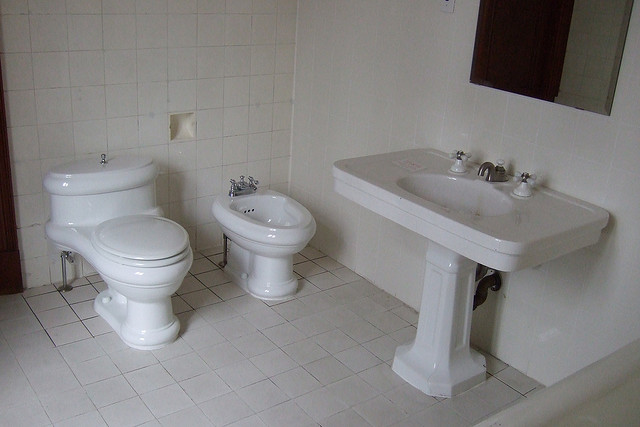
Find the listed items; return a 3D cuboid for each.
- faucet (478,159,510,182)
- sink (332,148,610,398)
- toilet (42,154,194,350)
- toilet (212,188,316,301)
[{"bbox_3d":[0.873,-0.214,2.384,0.146,0.086,0.078,-10,21,-33],"label":"faucet"},{"bbox_3d":[0.700,0.302,2.506,0.740,1.153,1.258,-10,21,-25],"label":"sink"},{"bbox_3d":[-1.123,0.216,2.797,0.703,0.857,1.016,-12,28,-42],"label":"toilet"},{"bbox_3d":[-0.395,0.209,3.181,0.726,0.528,0.557,22,26,36],"label":"toilet"}]
